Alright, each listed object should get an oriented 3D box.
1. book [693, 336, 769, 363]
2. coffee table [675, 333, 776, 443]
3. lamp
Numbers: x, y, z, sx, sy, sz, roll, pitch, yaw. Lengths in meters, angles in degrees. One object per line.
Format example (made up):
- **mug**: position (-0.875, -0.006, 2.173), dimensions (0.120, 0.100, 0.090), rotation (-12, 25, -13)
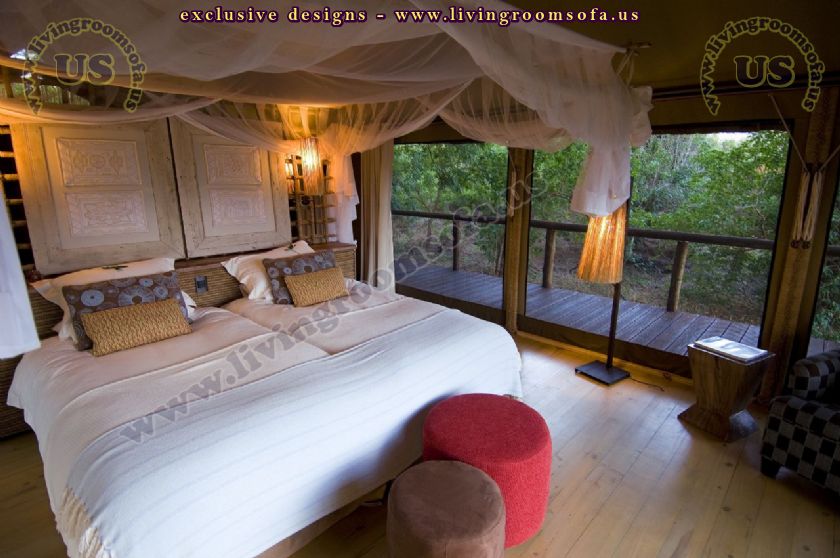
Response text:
- **book**: position (2.352, 0.529, 3.876), dimensions (0.282, 0.067, 0.460), rotation (-15, 18, -38)
- **coffee table**: position (2.400, 0.787, 4.176), dimensions (0.702, 0.781, 0.713), rotation (-14, 21, -34)
- **lamp**: position (1.651, 0.103, 4.501), dimensions (0.500, 1.602, 0.434), rotation (-18, 23, -37)
